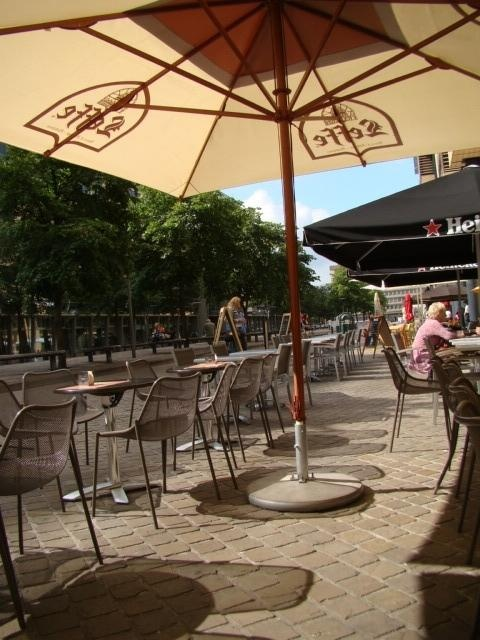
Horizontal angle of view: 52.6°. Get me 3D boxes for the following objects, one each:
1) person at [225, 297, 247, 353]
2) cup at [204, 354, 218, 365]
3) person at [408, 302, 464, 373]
[{"bbox_3d":[-0.060,0.254,13.706,0.574,1.737,0.577,-9,7,-13],"label":"person"},{"bbox_3d":[-0.409,0.548,6.744,0.179,0.082,0.244,0,-3,2],"label":"cup"},{"bbox_3d":[3.105,0.271,7.588,0.715,1.138,0.934,-18,10,-38],"label":"person"}]
